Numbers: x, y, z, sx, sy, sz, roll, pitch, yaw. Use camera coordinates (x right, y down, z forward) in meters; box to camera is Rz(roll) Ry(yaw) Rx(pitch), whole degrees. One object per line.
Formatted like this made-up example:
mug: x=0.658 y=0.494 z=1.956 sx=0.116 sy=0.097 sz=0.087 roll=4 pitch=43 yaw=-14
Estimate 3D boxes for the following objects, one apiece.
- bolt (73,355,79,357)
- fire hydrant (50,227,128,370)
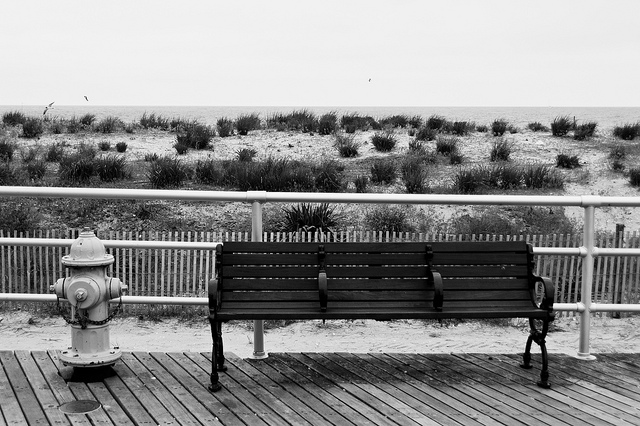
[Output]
bolt: x=-2.918 y=1.690 z=11.315 sx=0.059 sy=0.013 sz=0.016 roll=4 pitch=12 yaw=12
fire hydrant: x=-2.793 y=1.045 z=11.523 sx=0.822 sy=1.656 sz=0.818 roll=-1 pitch=4 yaw=-18
